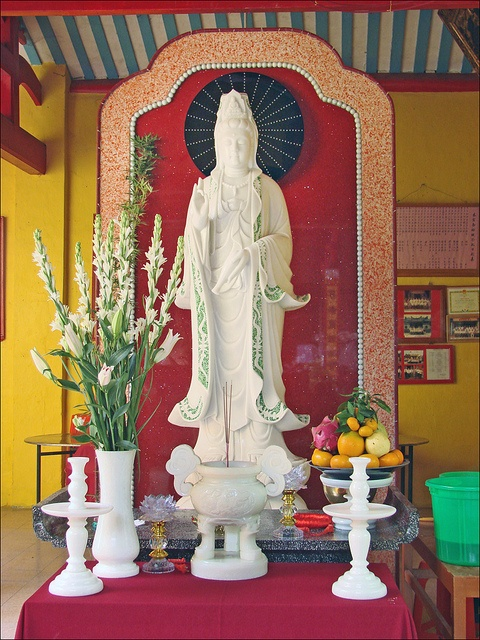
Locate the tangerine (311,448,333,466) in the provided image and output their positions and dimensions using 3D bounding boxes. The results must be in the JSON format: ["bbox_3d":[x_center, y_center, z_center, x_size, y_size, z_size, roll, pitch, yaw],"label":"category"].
[{"bbox_3d":[0.254,0.423,1.960,0.063,0.049,0.073,-3,-7,7],"label":"tangerine"}]

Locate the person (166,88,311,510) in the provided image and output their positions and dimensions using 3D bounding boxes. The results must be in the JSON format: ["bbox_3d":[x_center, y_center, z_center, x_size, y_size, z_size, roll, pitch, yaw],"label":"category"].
[{"bbox_3d":[-0.012,-0.187,2.557,0.562,1.476,0.223,-2,-6,5],"label":"person"}]

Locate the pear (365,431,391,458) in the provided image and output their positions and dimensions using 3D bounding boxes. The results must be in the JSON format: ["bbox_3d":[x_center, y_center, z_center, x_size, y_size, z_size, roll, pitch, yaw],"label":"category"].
[{"bbox_3d":[0.413,0.372,1.916,0.066,0.084,0.068,-15,-4,14],"label":"pear"}]

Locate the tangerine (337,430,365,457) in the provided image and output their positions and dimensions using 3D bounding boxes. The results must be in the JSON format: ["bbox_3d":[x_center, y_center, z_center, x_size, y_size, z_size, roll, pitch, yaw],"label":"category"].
[{"bbox_3d":[0.334,0.371,1.923,0.067,0.084,0.068,3,-7,-5],"label":"tangerine"}]

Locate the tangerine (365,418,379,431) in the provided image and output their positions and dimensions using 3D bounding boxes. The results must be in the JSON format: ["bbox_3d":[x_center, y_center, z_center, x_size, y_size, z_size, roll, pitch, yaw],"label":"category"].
[{"bbox_3d":[0.405,0.316,1.955,0.030,0.031,0.040,-21,-23,-13],"label":"tangerine"}]

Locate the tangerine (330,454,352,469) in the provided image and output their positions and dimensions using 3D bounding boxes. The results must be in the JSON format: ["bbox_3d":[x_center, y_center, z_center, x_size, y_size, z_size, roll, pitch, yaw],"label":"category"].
[{"bbox_3d":[0.299,0.422,1.896,0.053,0.051,0.053,-3,-6,-1],"label":"tangerine"}]

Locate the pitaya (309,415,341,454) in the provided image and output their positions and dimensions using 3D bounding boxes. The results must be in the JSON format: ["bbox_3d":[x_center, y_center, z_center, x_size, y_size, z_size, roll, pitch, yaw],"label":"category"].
[{"bbox_3d":[0.273,0.367,2.037,0.059,0.099,0.076,9,-9,-28],"label":"pitaya"}]

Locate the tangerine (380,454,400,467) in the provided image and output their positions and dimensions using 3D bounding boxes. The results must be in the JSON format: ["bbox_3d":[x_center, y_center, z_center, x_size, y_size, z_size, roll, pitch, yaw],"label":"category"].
[{"bbox_3d":[0.446,0.416,1.901,0.071,0.041,0.031,0,-7,-14],"label":"tangerine"}]

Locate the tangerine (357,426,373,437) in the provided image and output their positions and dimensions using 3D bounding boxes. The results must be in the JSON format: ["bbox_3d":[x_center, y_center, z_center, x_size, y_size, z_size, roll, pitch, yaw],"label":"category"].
[{"bbox_3d":[0.380,0.337,1.937,0.031,0.027,0.042,-21,-14,21],"label":"tangerine"}]
